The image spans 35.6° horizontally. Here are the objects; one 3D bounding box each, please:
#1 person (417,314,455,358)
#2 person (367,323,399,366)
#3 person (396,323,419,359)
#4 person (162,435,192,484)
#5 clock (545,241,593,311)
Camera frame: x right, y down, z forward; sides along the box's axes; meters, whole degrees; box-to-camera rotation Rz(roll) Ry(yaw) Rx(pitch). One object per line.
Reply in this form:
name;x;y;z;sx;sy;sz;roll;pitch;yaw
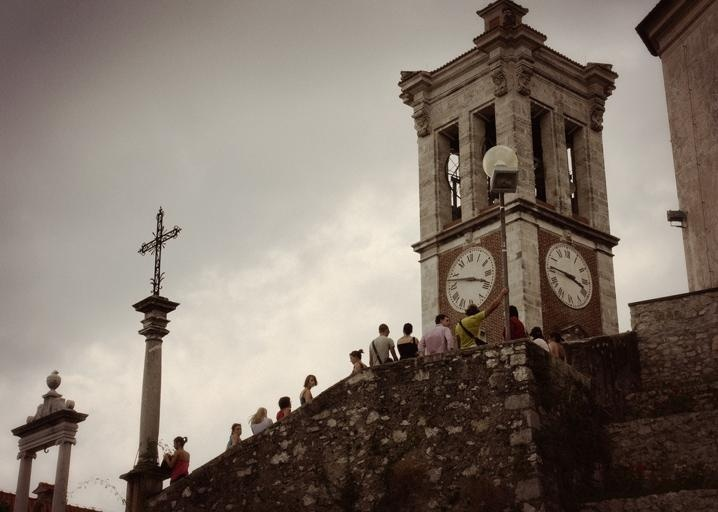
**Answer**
person;1.586;1.630;23.256;0.745;1.217;1.194;-5;-23;3
person;0.553;1.926;23.668;0.735;1.001;0.642;-9;-17;21
person;0.993;1.828;23.514;0.456;0.608;1.101;-4;-67;-1
person;-4.081;4.534;24.758;0.531;0.891;1.361;1;-24;-11
clock;7.023;0.727;37.850;0.144;1.750;1.750;-26;-74;45
